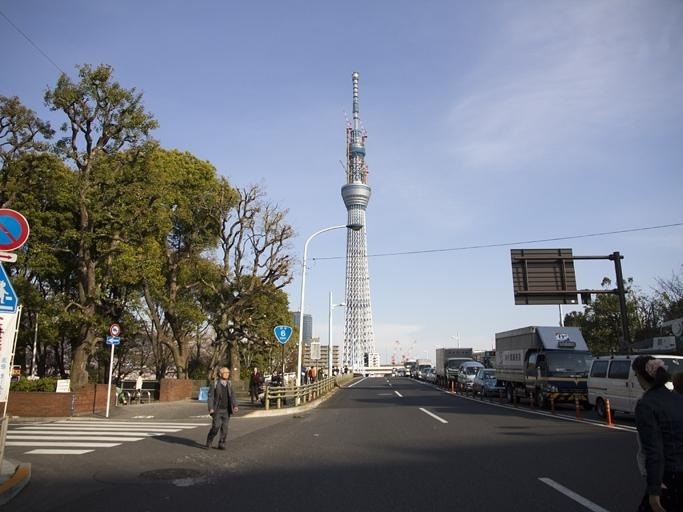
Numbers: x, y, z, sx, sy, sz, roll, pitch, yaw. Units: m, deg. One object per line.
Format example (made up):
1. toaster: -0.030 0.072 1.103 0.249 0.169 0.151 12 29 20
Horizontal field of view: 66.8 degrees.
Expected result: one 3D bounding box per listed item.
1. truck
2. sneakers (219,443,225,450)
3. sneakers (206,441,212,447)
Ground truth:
1. truck: 10.128 5.724 26.481 2.649 3.958 6.924 4 -11 -1
2. sneakers: -2.982 4.863 13.102 0.167 0.125 0.271 3 -17 -16
3. sneakers: -3.360 4.882 13.315 0.114 0.154 0.126 -2 -10 -3
